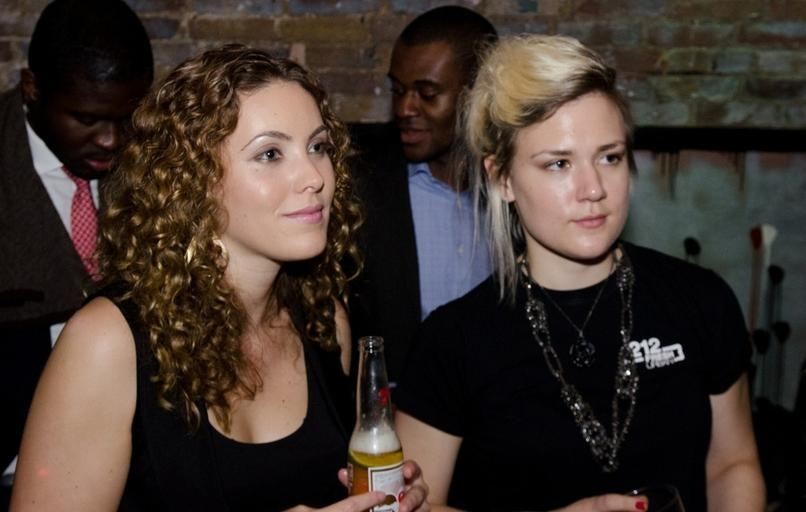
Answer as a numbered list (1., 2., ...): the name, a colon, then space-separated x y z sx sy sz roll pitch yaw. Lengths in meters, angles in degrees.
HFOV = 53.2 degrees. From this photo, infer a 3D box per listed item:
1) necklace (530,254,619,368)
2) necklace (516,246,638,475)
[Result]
1. necklace: 0.679 0.231 3.160 0.371 0.473 0.050 -13 -23 -5
2. necklace: 0.704 0.404 3.185 0.438 0.809 0.358 -4 8 11
